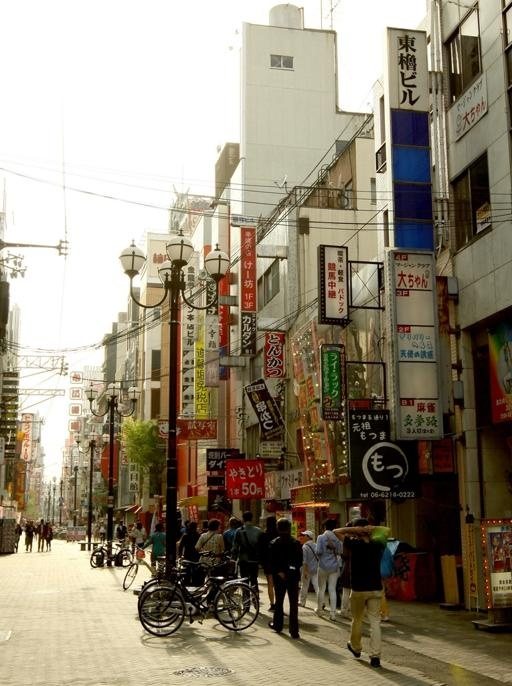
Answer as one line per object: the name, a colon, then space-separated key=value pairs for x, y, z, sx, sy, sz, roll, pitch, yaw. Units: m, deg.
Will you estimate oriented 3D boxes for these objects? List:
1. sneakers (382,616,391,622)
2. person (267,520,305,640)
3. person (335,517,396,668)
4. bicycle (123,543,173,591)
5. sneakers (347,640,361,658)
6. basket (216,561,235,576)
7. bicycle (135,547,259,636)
sneakers: x=2.206 y=4.676 z=13.850 sx=0.071 sy=0.098 sz=0.228 roll=0 pitch=-17 yaw=-1
person: x=0.441 y=3.480 z=12.214 sx=0.510 sy=1.659 sz=1.413 roll=-2 pitch=-13 yaw=1
person: x=1.286 y=2.966 z=9.846 sx=0.585 sy=1.656 sz=1.047 roll=-3 pitch=-13 yaw=6
bicycle: x=-3.067 y=6.319 z=23.060 sx=1.538 sy=1.080 sz=0.785 roll=17 pitch=-37 yaw=-19
sneakers: x=1.186 y=3.703 z=9.958 sx=0.088 sy=0.110 sz=0.268 roll=3 pitch=31 yaw=-20
basket: x=-0.510 y=3.956 z=14.281 sx=0.269 sy=0.298 sz=0.505 roll=6 pitch=-5 yaw=0
bicycle: x=-0.926 y=3.934 z=12.786 sx=1.975 sy=1.353 sz=1.027 roll=8 pitch=-18 yaw=-22
